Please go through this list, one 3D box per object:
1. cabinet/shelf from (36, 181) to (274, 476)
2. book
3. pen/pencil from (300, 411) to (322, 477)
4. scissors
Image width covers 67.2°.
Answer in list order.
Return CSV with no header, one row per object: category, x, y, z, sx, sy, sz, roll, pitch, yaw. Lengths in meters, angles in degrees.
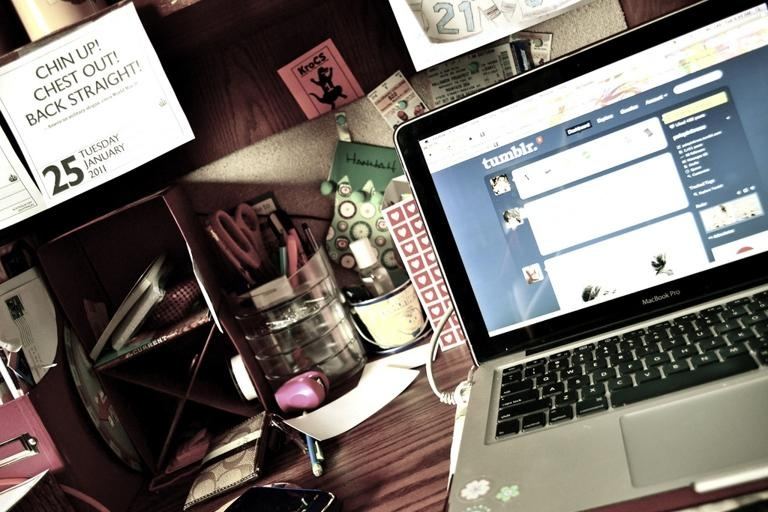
cabinet/shelf,-0.434,0.159,1.107,0.258,0.433,0.145,-25,12,-21
book,-0.481,0.102,1.098,0.161,0.046,0.176,-48,13,1
pen/pencil,-0.115,0.312,0.928,0.015,0.018,0.084,-20,30,-1
scissors,-0.275,-0.016,1.103,0.101,0.166,0.045,-24,-6,-36
